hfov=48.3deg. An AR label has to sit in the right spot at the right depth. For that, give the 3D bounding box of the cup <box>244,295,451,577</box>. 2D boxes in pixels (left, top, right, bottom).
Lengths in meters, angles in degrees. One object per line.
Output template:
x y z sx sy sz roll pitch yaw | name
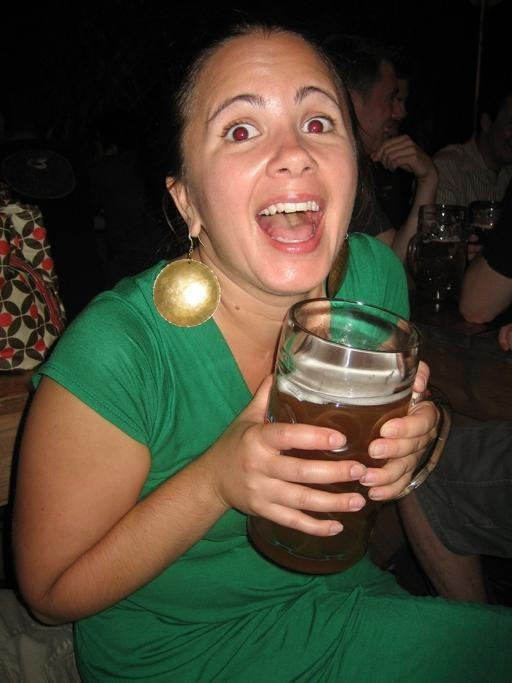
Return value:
0.112 0.203 0.862 0.271 0.538 0.227 -11 25 -5 | cup
